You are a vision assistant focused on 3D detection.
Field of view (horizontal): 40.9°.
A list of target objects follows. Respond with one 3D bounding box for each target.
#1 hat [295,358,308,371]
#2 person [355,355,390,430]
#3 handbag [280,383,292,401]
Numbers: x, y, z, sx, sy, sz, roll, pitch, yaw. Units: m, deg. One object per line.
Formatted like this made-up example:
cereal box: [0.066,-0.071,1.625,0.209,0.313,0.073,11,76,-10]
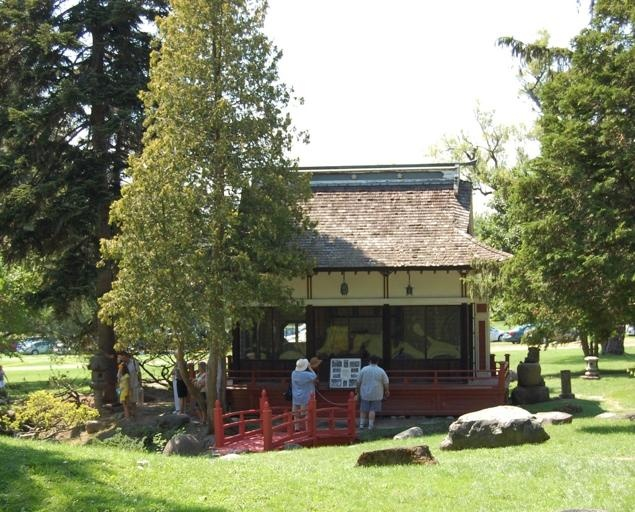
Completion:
hat: [-0.461,3.250,25.785,0.365,0.427,0.129,-12,-18,22]
person: [1.721,4.466,27.685,0.949,2.301,1.207,-1,-8,2]
handbag: [-0.968,4.283,26.612,0.230,0.455,0.869,-1,-9,-3]
